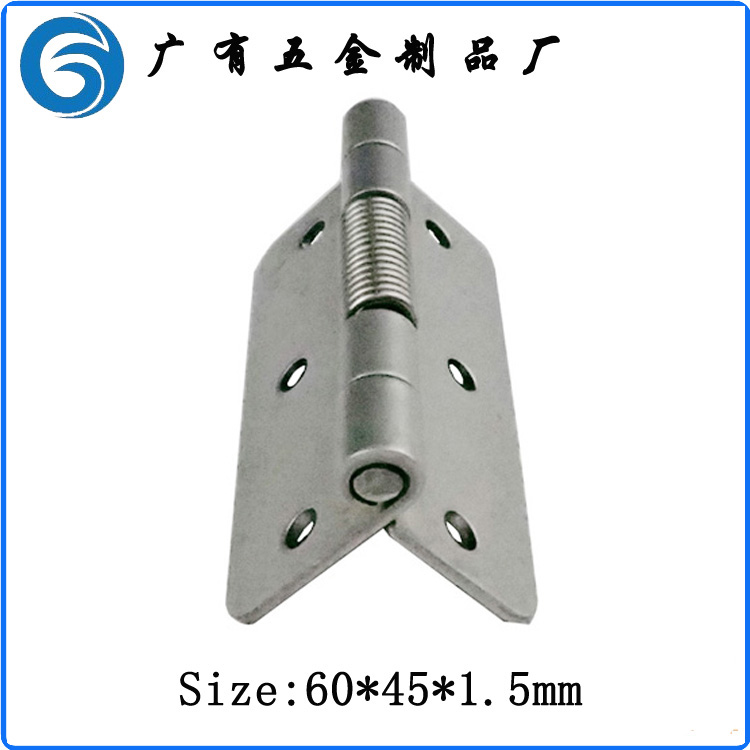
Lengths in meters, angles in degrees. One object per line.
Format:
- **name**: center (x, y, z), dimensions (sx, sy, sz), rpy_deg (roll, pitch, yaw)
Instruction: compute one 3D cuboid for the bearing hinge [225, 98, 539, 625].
- **bearing hinge**: center (0.003, -0.025, 1.332), dimensions (0.365, 0.717, 0.214), rpy_deg (-3, -54, -4)
